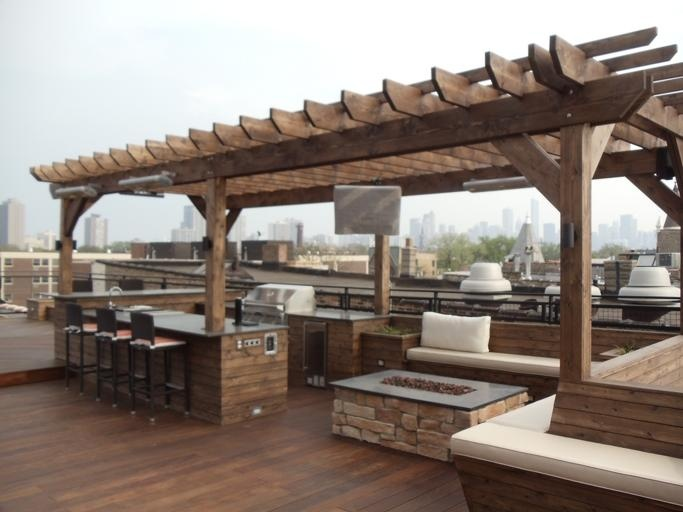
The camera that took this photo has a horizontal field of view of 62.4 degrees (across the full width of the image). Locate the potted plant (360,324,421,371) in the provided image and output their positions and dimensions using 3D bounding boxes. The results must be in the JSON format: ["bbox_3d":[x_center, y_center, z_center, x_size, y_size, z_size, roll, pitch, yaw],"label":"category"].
[{"bbox_3d":[0.717,1.226,8.024,0.567,0.761,0.756,0,1,-44],"label":"potted plant"}]

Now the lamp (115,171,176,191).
[{"bbox_3d":[-2.632,-1.047,7.804,0.984,0.203,0.370,3,17,40],"label":"lamp"}]

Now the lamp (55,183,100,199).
[{"bbox_3d":[-4.331,-1.070,9.342,0.936,0.204,0.425,4,17,42],"label":"lamp"}]

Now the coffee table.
[{"bbox_3d":[0.841,1.594,6.046,1.882,0.608,1.014,-1,14,27],"label":"coffee table"}]
